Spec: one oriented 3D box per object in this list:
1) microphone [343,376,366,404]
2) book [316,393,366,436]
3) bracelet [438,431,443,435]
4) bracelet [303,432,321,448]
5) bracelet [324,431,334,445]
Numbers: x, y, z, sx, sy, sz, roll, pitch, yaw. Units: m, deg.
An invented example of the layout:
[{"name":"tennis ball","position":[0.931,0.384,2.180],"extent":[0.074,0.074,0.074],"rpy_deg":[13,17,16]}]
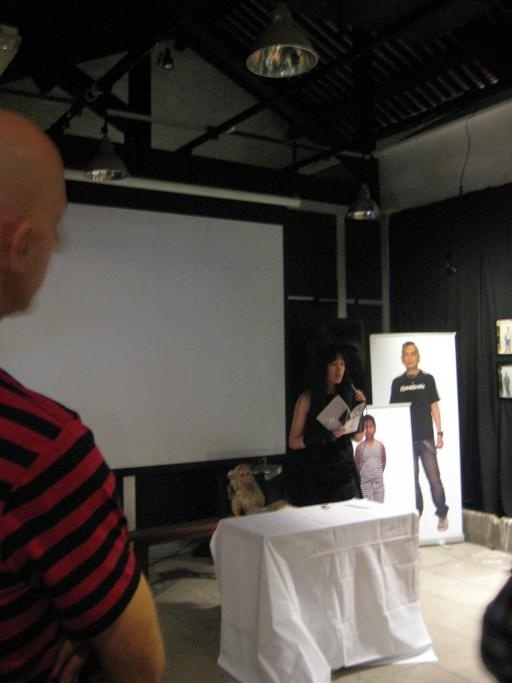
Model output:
[{"name":"microphone","position":[0.848,0.418,4.927],"extent":[0.073,0.229,0.060],"rpy_deg":[-10,-34,-37]},{"name":"book","position":[0.730,0.632,4.886],"extent":[0.407,0.259,0.125],"rpy_deg":[-1,0,4]},{"name":"bracelet","position":[1.747,0.869,5.370],"extent":[0.059,0.034,0.020],"rpy_deg":[-1,0,-22]},{"name":"bracelet","position":[0.492,0.864,4.959],"extent":[0.096,0.149,0.041],"rpy_deg":[3,-19,45]},{"name":"bracelet","position":[0.630,0.830,4.853],"extent":[0.043,0.062,0.154],"rpy_deg":[4,-41,0]}]
